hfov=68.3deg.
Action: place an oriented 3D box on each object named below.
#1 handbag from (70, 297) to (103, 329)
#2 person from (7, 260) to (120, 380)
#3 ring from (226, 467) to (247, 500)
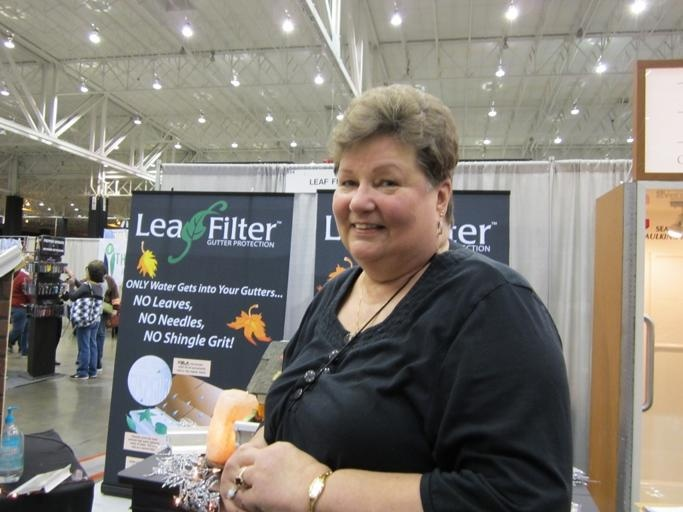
[{"bbox_3d":[-3.633,0.809,7.114,0.388,0.435,0.248,4,-6,-32],"label":"handbag"},{"bbox_3d":[-3.760,0.931,7.435,0.858,1.687,0.932,4,-6,-33],"label":"person"},{"bbox_3d":[-0.358,0.776,1.692,0.034,0.107,0.083,10,-9,22],"label":"ring"}]
